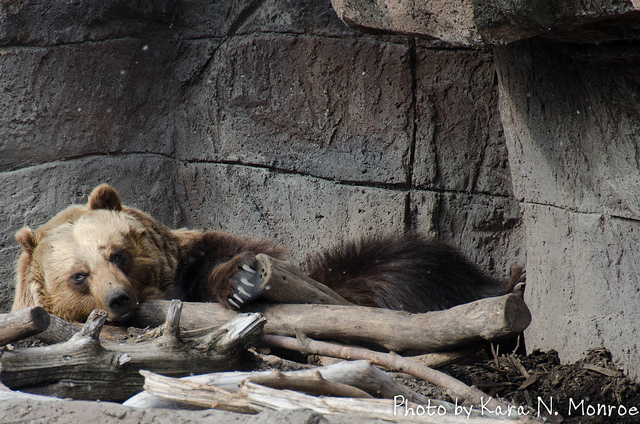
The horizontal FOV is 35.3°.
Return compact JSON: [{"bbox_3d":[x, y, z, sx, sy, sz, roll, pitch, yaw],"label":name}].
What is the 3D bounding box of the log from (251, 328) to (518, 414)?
[{"bbox_3d":[0.491,1.252,8.036,1.477,0.225,0.255,16,25,25],"label":"log"}]
